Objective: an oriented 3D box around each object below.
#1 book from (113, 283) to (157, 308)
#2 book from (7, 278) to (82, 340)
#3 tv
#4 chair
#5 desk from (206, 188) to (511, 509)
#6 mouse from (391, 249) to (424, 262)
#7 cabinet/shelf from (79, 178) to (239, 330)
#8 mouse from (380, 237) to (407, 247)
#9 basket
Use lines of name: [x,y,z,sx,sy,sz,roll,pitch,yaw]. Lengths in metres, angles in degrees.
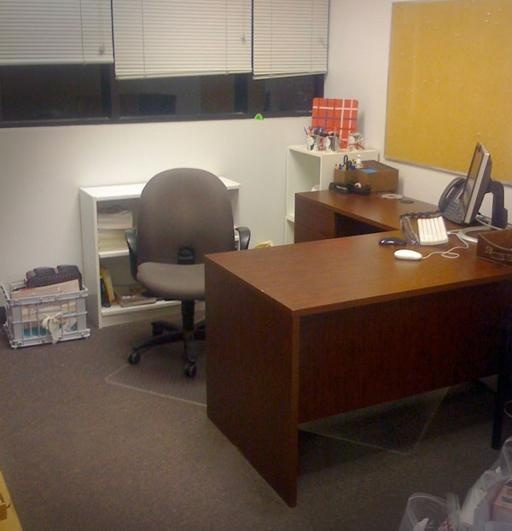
book: [-0.868,0.208,3.417,0.171,0.049,0.190,-5,22,-19]
book: [-1.250,0.289,2.955,0.361,0.294,0.379,-5,10,-31]
tv: [1.188,-0.414,2.518,0.144,0.395,0.361,0,21,8]
chair: [-0.400,0.024,2.786,0.598,1.060,0.587,-3,11,-19]
desk: [0.284,0.267,1.836,0.910,0.619,1.031,-8,21,-23]
mouse: [0.626,-0.047,2.014,0.081,0.021,0.060,7,21,19]
cabinet/shelf: [-0.596,-0.072,2.902,0.722,0.782,0.322,-8,17,-29]
mouse: [0.616,-0.109,2.203,0.080,0.027,0.053,0,12,-1]
basket: [-1.278,0.208,2.945,0.394,0.313,0.425,-8,17,-24]
